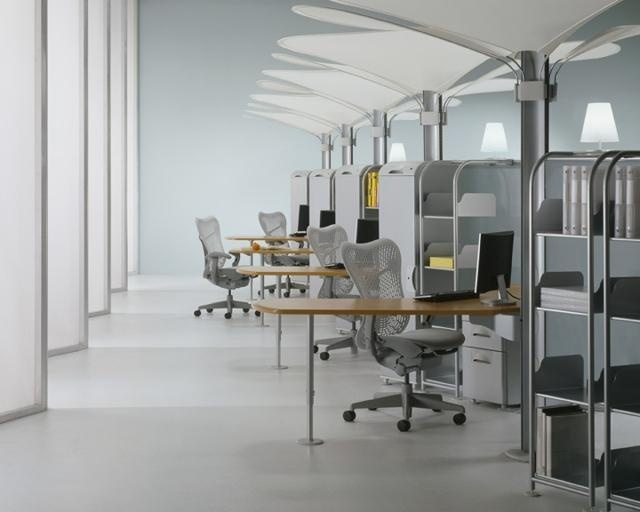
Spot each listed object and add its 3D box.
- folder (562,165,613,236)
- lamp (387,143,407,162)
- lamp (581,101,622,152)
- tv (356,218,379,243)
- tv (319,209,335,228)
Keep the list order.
[{"bbox_3d":[1.406,-0.295,3.118,0.245,0.361,0.501,3,9,26],"label":"folder"},{"bbox_3d":[1.569,-2.143,12.136,0.328,0.342,0.378,0,8,5],"label":"lamp"},{"bbox_3d":[3.703,-1.754,7.855,0.464,0.550,0.248,0,9,9],"label":"lamp"},{"bbox_3d":[0.471,-0.264,6.351,0.286,0.239,0.482,-4,3,1],"label":"tv"},{"bbox_3d":[0.099,-0.540,8.347,0.268,0.242,0.243,-1,4,-23],"label":"tv"}]
